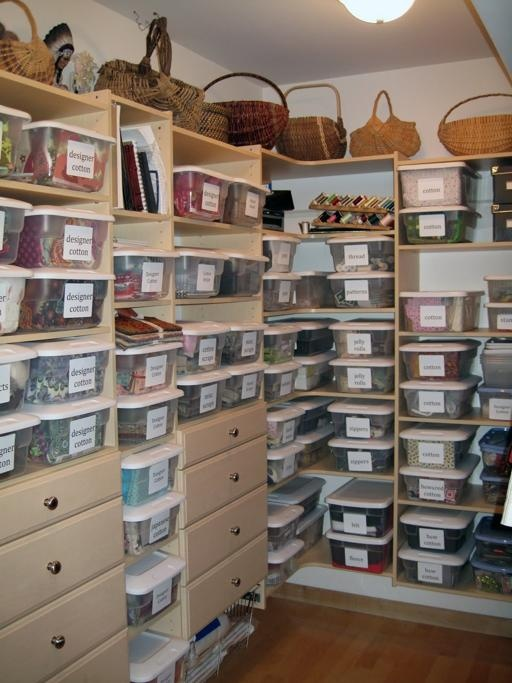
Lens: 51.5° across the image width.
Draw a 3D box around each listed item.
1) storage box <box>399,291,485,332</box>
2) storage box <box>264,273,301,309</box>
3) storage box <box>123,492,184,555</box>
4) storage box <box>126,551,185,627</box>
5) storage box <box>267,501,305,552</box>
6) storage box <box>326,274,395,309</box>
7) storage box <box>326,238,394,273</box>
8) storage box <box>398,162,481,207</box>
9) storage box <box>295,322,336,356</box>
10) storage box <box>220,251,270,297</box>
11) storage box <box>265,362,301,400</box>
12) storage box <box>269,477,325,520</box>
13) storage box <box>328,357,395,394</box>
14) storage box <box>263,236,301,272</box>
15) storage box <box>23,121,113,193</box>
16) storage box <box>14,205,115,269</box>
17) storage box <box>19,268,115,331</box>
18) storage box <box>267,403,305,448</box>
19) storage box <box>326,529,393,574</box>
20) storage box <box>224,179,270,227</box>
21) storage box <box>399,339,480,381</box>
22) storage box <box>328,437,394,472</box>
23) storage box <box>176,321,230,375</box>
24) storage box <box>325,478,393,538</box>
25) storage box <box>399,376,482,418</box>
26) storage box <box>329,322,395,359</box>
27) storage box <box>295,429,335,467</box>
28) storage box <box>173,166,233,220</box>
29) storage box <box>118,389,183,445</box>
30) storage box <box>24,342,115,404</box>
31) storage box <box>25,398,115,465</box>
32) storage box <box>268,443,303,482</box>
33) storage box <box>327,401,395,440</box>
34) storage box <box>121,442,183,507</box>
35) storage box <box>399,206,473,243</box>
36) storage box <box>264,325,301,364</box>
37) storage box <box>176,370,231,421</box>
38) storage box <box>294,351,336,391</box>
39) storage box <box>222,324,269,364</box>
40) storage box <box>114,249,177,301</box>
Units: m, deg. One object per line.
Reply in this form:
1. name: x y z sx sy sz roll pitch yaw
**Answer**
1. storage box: 0.832 -0.132 2.376 0.373 0.192 0.247 0 -2 9
2. storage box: 0.112 -0.224 2.330 0.158 0.141 0.219 4 5 30
3. storage box: -0.284 0.509 1.490 0.116 0.076 0.158 -2 -2 31
4. storage box: -0.306 0.697 1.543 0.155 0.100 0.199 4 5 31
5. storage box: 0.131 0.824 2.351 0.141 0.091 0.186 -2 -2 30
6. storage box: 0.499 -0.238 2.446 0.180 0.112 0.241 -5 8 -37
7. storage box: 0.482 -0.388 2.461 0.256 0.119 0.172 4 7 38
8. storage box: 0.785 -0.655 2.322 0.272 0.133 0.216 5 8 30
9. storage box: 0.285 -0.025 2.676 0.137 0.093 0.203 3 8 23
10. storage box: -0.041 -0.253 2.039 0.166 0.130 0.198 11 12 33
11. storage box: 0.109 0.176 2.354 0.151 0.140 0.233 3 6 30
12. storage box: 0.206 0.740 2.603 0.230 0.097 0.346 -1 0 23
13. storage box: 0.501 0.159 2.499 0.288 0.165 0.160 0 -2 14
14. storage box: 0.109 -0.388 2.312 0.165 0.167 0.206 5 7 35
15. storage box: -0.406 -0.395 1.179 0.134 0.103 0.197 10 9 18
16. storage box: -0.439 -0.225 1.210 0.131 0.100 0.192 12 6 24
17. storage box: -0.408 -0.090 1.173 0.112 0.086 0.165 2 1 28
18. storage box: 0.130 0.383 2.410 0.133 0.180 0.373 0 -2 24
19. storage box: 0.477 0.980 2.475 0.206 0.128 0.260 -2 -6 29
20. storage box: -0.032 -0.524 2.036 0.154 0.136 0.214 6 1 27
21. storage box: 0.862 0.081 2.483 0.322 0.192 0.351 0 -2 25
22. storage box: 0.505 0.540 2.531 0.311 0.164 0.173 0 -2 5
23. storage box: -0.191 0.023 1.773 0.143 0.106 0.183 -2 5 -40
24. storage box: 0.522 0.810 2.593 0.298 0.182 0.379 0 -2 19
25. storage box: 0.839 0.252 2.433 0.341 0.180 0.285 0 -2 22
26. storage box: 0.511 -0.011 2.475 0.184 0.101 0.235 2 5 21
27. storage box: 0.295 0.529 2.665 0.164 0.084 0.245 -2 1 30
28. storage box: -0.183 -0.483 1.771 0.164 0.114 0.219 4 4 26
29. storage box: -0.296 0.209 1.477 0.134 0.107 0.219 6 8 29
30. storage box: -0.418 0.065 1.191 0.122 0.108 0.168 -1 -6 21
31. storage box: -0.412 0.203 1.195 0.114 0.082 0.160 0 -1 32
32. storage box: 0.130 0.538 2.377 0.134 0.103 0.180 0 1 35
33. storage box: 0.498 0.368 2.497 0.250 0.120 0.192 1 0 33
34. storage box: -0.293 0.375 1.503 0.118 0.102 0.169 4 5 34
35. storage box: 0.803 -0.504 2.361 0.308 0.163 0.263 0 -2 22
36. storage box: 0.117 0.015 2.374 0.151 0.119 0.184 -2 5 -40
37. storage box: -0.173 0.173 1.748 0.142 0.102 0.212 3 7 30
38. storage box: 0.289 0.150 2.630 0.169 0.089 0.289 0 1 23
39. storage box: -0.035 0.012 2.022 0.126 0.112 0.174 -1 3 -33
40. storage box: -0.298 -0.182 1.483 0.120 0.109 0.169 -2 -3 25
